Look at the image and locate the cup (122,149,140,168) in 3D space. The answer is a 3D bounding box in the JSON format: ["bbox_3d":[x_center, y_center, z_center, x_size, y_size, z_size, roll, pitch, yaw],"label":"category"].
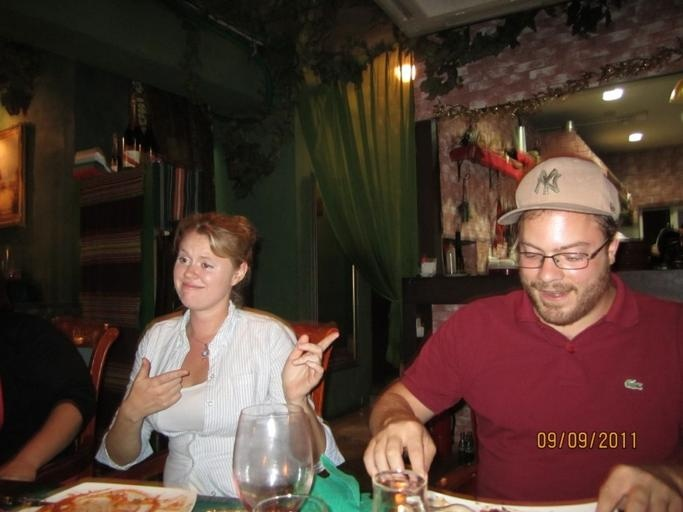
[{"bbox_3d":[-1.548,-0.715,4.220,0.137,0.145,0.143,-1,-8,0],"label":"cup"}]

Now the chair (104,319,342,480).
[{"bbox_3d":[-0.478,0.577,2.274,0.915,0.634,0.295,7,1,-1],"label":"chair"}]

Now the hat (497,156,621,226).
[{"bbox_3d":[0.906,-0.274,2.370,0.394,0.282,0.545,-3,-3,38],"label":"hat"}]

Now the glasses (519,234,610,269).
[{"bbox_3d":[0.857,0.012,2.206,0.286,0.083,0.053,-2,2,10],"label":"glasses"}]

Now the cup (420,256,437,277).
[{"bbox_3d":[0.715,0.079,4.523,0.124,0.163,0.148,16,-15,-41],"label":"cup"}]
